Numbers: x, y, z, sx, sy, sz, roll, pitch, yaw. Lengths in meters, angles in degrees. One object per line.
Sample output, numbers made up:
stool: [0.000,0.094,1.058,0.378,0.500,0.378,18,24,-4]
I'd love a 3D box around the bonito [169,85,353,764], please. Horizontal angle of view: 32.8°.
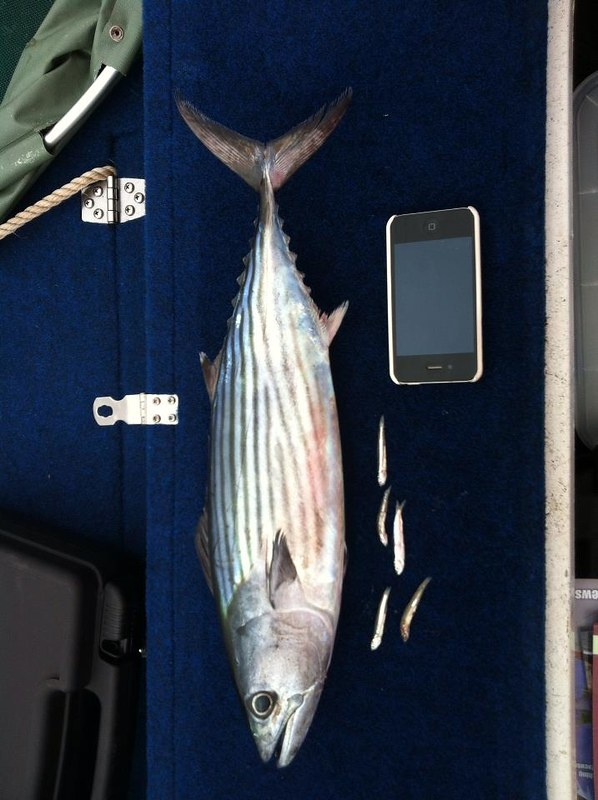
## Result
bonito: [-0.034,0.026,1.083,0.111,0.684,0.217,-2,9,-44]

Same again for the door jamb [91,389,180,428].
door jamb: [-0.197,0.016,1.206,0.055,0.059,0.173,1,6,-25]

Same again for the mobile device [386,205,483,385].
mobile device: [0.142,-0.104,1.055,0.114,0.179,0.017,0,4,42]

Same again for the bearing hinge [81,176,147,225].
bearing hinge: [-0.232,-0.246,1.266,0.076,0.059,0.019,3,6,-6]
